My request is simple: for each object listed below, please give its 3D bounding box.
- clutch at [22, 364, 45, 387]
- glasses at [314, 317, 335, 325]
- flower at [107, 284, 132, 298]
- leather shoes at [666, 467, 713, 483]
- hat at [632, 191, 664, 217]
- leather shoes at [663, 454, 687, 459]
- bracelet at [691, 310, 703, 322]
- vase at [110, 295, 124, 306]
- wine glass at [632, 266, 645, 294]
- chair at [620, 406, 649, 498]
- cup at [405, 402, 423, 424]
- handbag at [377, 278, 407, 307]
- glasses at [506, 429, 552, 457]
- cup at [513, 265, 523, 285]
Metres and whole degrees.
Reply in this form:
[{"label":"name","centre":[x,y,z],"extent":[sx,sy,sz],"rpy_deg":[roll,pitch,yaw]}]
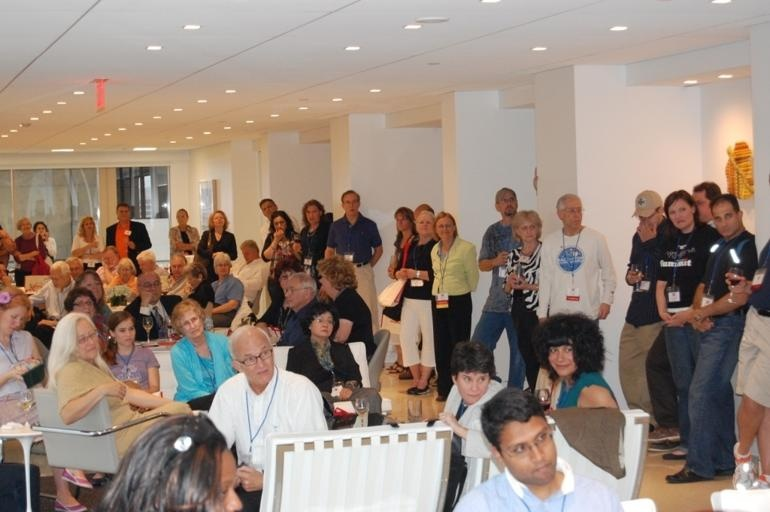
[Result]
[{"label":"clutch","centre":[-2.680,0.897,4.882],"extent":[0.106,0.129,0.182],"rpy_deg":[8,15,24]},{"label":"glasses","centre":[-0.493,0.528,5.209],"extent":[0.092,0.027,0.092],"rpy_deg":[5,-27,-19]},{"label":"flower","centre":[-3.228,0.418,7.768],"extent":[0.175,0.118,0.176],"rpy_deg":[0,0,21]},{"label":"leather shoes","centre":[2.546,1.808,5.337],"extent":[0.411,0.161,0.138],"rpy_deg":[3,-6,-2]},{"label":"hat","centre":[2.661,-0.555,6.495],"extent":[0.225,0.193,0.334],"rpy_deg":[2,22,45]},{"label":"leather shoes","centre":[2.612,1.799,5.774],"extent":[0.204,0.053,0.072],"rpy_deg":[4,-2,-2]},{"label":"bracelet","centre":[2.655,0.497,5.455],"extent":[0.048,0.092,0.067],"rpy_deg":[6,27,1]},{"label":"vase","centre":[-3.201,0.525,7.713],"extent":[0.191,0.139,0.105],"rpy_deg":[2,-27,-10]},{"label":"wine glass","centre":[2.484,0.224,6.285],"extent":[0.098,0.246,0.346],"rpy_deg":[-3,1,21]},{"label":"chair","centre":[1.318,1.047,3.341],"extent":[0.121,0.495,0.271],"rpy_deg":[-3,1,28]},{"label":"cup","centre":[0.207,1.028,4.252],"extent":[0.117,0.160,0.117],"rpy_deg":[0,3,0]},{"label":"handbag","centre":[0.100,0.488,8.688],"extent":[0.209,0.523,0.493],"rpy_deg":[38,-3,-6]},{"label":"glasses","centre":[0.611,0.763,2.622],"extent":[0.103,0.032,0.130],"rpy_deg":[-23,-5,-7]},{"label":"cup","centre":[1.427,0.197,6.847],"extent":[0.081,0.224,0.060],"rpy_deg":[16,-37,-6]}]
